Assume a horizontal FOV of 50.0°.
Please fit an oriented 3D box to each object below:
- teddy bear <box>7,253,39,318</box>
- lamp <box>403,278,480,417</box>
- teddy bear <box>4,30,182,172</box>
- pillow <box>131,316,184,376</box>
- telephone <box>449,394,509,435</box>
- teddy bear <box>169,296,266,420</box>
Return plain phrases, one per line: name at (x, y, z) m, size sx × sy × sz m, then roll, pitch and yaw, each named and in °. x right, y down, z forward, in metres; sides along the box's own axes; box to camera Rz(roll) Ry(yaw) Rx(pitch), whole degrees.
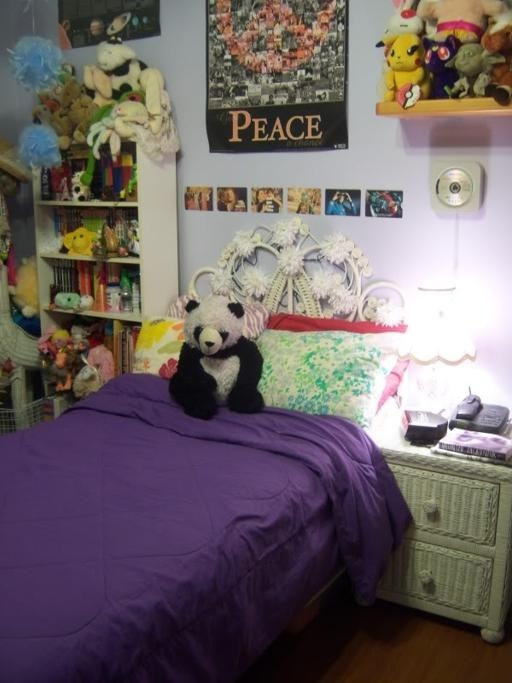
teddy bear at (-1.350, -0.331, 3.264) m, size 0.082 × 0.340 × 0.263 m, roll -10°, pitch -29°, yaw 19°
lamp at (0.674, 0.054, 2.045) m, size 0.265 × 0.516 × 0.351 m, roll 3°, pitch 12°, yaw 22°
teddy bear at (-0.780, -1.193, 2.736) m, size 0.721 × 0.585 × 0.378 m, roll 15°, pitch 32°, yaw 20°
pillow at (-0.389, 0.031, 2.431) m, size 0.076 × 0.241 × 0.254 m, roll 25°, pitch -18°, yaw -37°
telephone at (0.769, 0.257, 1.878) m, size 0.125 × 0.046 × 0.141 m, roll 4°, pitch 18°, yaw 25°
teddy bear at (-0.140, 0.056, 2.081) m, size 0.349 × 0.440 × 0.294 m, roll -2°, pitch 22°, yaw 0°
